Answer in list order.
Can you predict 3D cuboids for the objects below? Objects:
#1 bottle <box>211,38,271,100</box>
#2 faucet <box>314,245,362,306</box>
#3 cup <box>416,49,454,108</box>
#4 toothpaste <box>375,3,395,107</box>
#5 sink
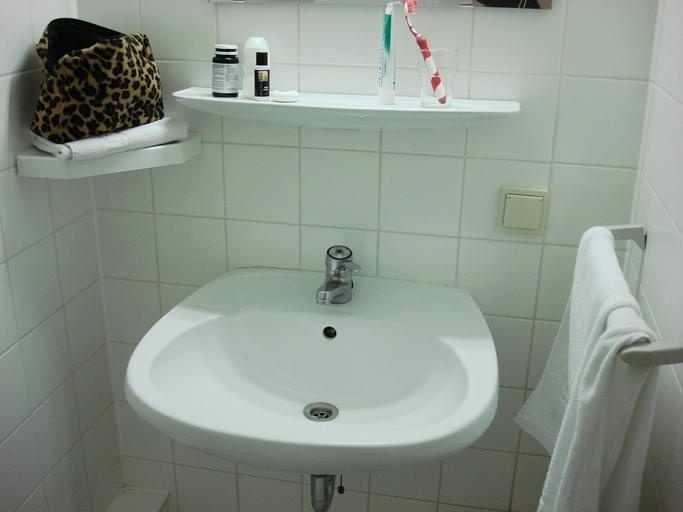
[{"bbox_3d":[-0.237,-0.474,1.459,0.147,0.144,0.148,5,15,4],"label":"bottle"},{"bbox_3d":[-0.011,0.052,1.498,0.098,0.163,0.132,8,30,10],"label":"faucet"},{"bbox_3d":[0.216,-0.420,1.390,0.094,0.130,0.088,1,29,-1],"label":"cup"},{"bbox_3d":[0.078,-0.472,1.344,0.042,0.191,0.091,0,38,-7],"label":"toothpaste"},{"bbox_3d":[-0.054,0.344,1.437,0.792,0.313,0.694,7,26,12],"label":"sink"}]
